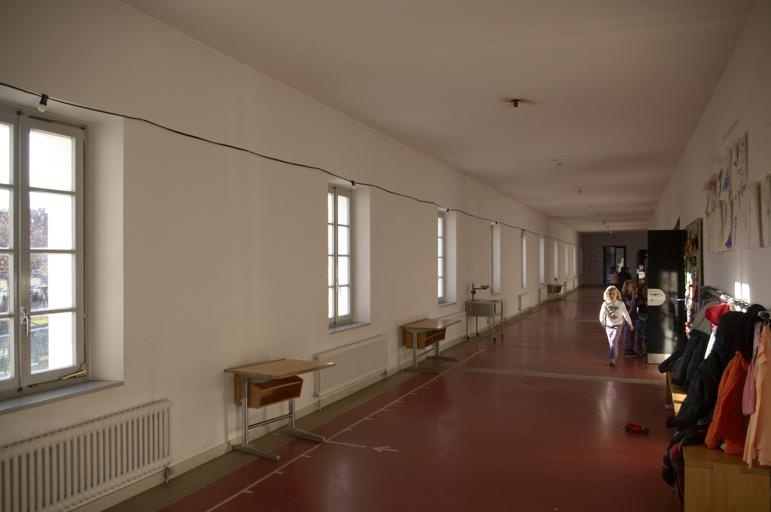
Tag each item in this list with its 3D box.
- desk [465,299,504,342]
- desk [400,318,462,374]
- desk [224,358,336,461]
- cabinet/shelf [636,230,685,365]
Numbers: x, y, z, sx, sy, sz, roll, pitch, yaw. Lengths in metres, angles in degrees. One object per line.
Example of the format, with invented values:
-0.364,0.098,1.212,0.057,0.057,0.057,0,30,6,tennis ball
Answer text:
2.213,1.322,10.797,0.594,0.643,0.738,-6,1,43,desk
0.669,1.473,8.317,0.561,0.743,1.067,0,1,11,desk
-1.073,1.563,5.245,0.676,0.787,0.948,-4,-6,26,desk
4.583,0.699,8.285,0.567,2.180,0.340,2,4,28,cabinet/shelf
